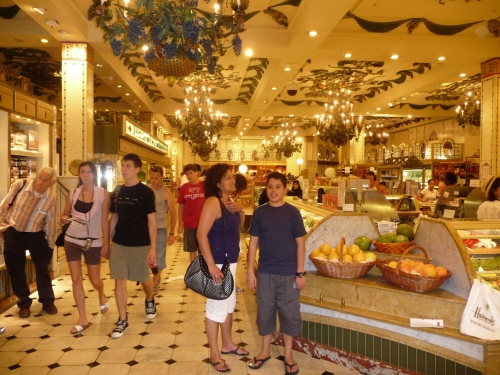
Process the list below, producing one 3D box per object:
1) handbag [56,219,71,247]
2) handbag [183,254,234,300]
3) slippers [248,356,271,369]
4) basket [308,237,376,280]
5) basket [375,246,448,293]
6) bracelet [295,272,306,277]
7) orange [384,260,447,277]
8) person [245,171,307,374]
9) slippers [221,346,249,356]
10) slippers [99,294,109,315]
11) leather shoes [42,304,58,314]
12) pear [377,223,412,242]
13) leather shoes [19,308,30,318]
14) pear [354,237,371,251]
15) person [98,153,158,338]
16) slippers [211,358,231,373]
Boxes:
[{"bbox_3d":[-2.357,0.564,4.491,0.164,0.339,0.232,-3,5,-37],"label":"handbag"},{"bbox_3d":[-0.402,0.889,3.562,0.474,0.469,0.172,0,4,-1],"label":"handbag"},{"bbox_3d":[0.087,1.836,3.830,0.085,0.057,0.213,-3,-2,38],"label":"slippers"},{"bbox_3d":[1.062,0.815,4.078,0.526,0.277,0.563,0,3,4],"label":"basket"},{"bbox_3d":[1.686,0.847,3.763,0.427,0.360,0.569,0,6,-28],"label":"basket"},{"bbox_3d":[0.506,0.877,3.656,0.089,0.042,0.093,0,-2,1],"label":"bracelet"},{"bbox_3d":[1.767,0.819,3.654,0.464,0.099,0.232,2,4,22],"label":"orange"},{"bbox_3d":[0.269,0.871,3.783,0.601,2.061,0.344,1,4,7],"label":"person"},{"bbox_3d":[-0.167,1.837,4.053,0.234,0.069,0.116,0,3,-5],"label":"slippers"},{"bbox_3d":[-2.051,1.612,5.031,0.113,0.311,0.080,-5,19,-15],"label":"slippers"},{"bbox_3d":[-2.815,1.685,5.047,0.263,0.113,0.102,3,3,39],"label":"leather shoes"},{"bbox_3d":[1.730,0.528,4.246,0.266,0.117,0.267,-15,7,7],"label":"pear"},{"bbox_3d":[-3.107,1.704,4.930,0.138,0.097,0.191,-2,5,-33],"label":"leather shoes"},{"bbox_3d":[1.340,0.681,4.340,0.172,0.171,0.163,2,-12,-4],"label":"pear"},{"bbox_3d":[-1.468,0.699,4.437,0.594,2.225,0.363,0,4,-9],"label":"person"},{"bbox_3d":[-0.327,1.835,3.765,0.109,0.070,0.196,0,0,-34],"label":"slippers"}]
